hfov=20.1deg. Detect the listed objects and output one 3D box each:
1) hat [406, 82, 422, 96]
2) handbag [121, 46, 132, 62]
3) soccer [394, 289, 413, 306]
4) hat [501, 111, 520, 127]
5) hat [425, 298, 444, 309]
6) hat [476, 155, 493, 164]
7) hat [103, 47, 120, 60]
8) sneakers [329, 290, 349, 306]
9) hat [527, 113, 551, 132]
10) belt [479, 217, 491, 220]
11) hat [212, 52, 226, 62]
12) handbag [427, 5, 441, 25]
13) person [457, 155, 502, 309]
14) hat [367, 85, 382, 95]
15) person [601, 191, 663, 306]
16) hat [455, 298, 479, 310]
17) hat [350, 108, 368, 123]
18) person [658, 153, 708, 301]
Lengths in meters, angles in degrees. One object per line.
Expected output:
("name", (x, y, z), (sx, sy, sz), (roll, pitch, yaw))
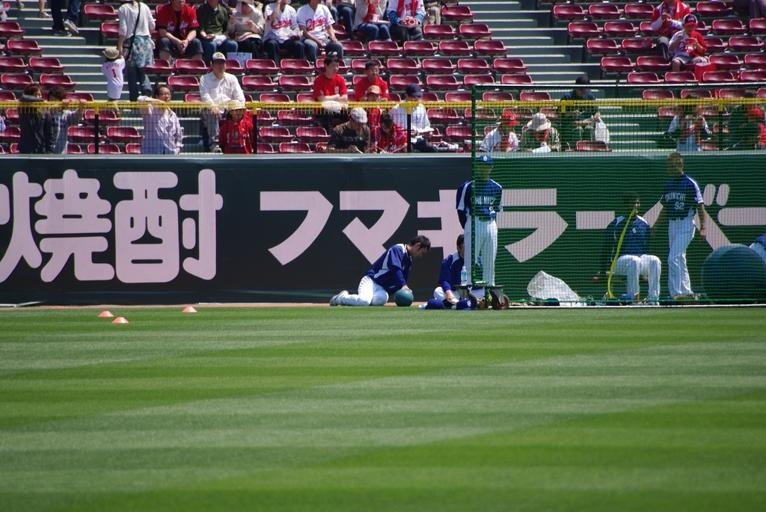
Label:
("hat", (0.557, -3.212, 42.031), (0.209, 0.145, 0.283), (-2, 3, -21))
("handbag", (-5.219, -4.026, 43.035), (0.131, 0.273, 0.286), (-2, 4, -18))
("soccer", (0.346, 0.761, 40.009), (0.345, 0.354, 0.577), (-1, 4, -1))
("hat", (2.246, -2.434, 38.468), (0.282, 0.256, 0.217), (-8, 17, -12))
("hat", (0.894, 0.878, 39.413), (0.170, 0.134, 0.266), (-4, 1, -37))
("hat", (1.809, -1.721, 38.732), (0.144, 0.068, 0.206), (9, 37, 5))
("hat", (-5.503, -4.019, 43.059), (0.283, 0.234, 0.634), (-1, 4, -8))
("sneakers", (-0.852, 0.799, 40.114), (0.243, 0.128, 0.313), (-10, 14, 6))
("hat", (2.743, -2.372, 38.494), (0.312, 0.169, 0.335), (15, 23, 36))
("belt", (1.807, -0.666, 38.802), (0.157, 0.065, 0.036), (0, -4, -6))
("hat", (-3.260, -3.863, 41.773), (0.199, 0.150, 0.291), (0, -2, -18))
("handbag", (1.076, -5.317, 47.665), (0.375, 0.498, 0.279), (4, 13, 11))
("person", (1.754, -0.446, 38.904), (0.769, 2.713, 0.748), (0, 3, 2))
("hat", (-0.228, -3.191, 41.582), (0.229, 0.100, 0.318), (7, 3, -6))
("person", (4.491, -0.104, 38.929), (1.002, 1.983, 0.374), (0, 3, 6))
("hat", (1.487, 0.890, 38.901), (0.511, 0.208, 0.314), (3, 5, 15))
("hat", (-0.502, -2.628, 40.536), (0.238, 0.314, 0.162), (-6, -25, -5))
("person", (5.386, -0.538, 38.996), (0.657, 2.640, 0.440), (-1, 3, -3))
